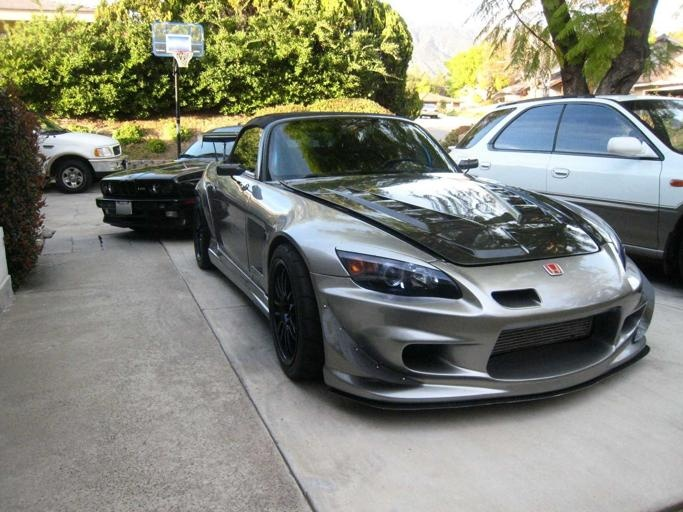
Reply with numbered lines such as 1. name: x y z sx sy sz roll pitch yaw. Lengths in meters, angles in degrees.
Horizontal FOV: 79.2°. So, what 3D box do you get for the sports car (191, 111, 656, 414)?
1. sports car: 0.023 -0.139 3.497 2.152 1.131 3.602 -5 15 -26
